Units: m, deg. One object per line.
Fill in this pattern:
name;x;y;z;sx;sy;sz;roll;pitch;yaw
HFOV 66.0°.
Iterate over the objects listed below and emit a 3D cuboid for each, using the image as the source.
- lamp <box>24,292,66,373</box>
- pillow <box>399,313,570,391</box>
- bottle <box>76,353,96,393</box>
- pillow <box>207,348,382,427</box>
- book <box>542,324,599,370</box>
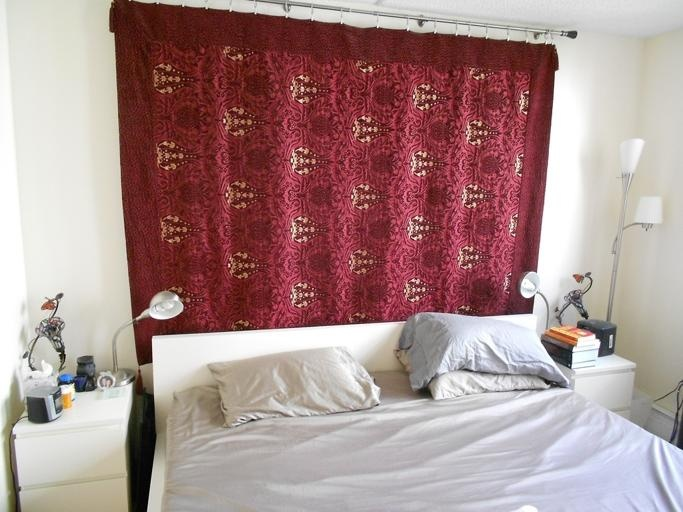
lamp;-1.730;0.465;3.058;0.217;0.495;0.293;-3;9;-28
pillow;0.879;0.566;3.261;0.711;0.207;0.541;10;17;-14
bottle;-1.494;0.681;3.059;0.138;0.170;0.181;0;-4;-15
pillow;-0.237;0.746;2.987;0.713;0.138;0.439;1;31;-23
book;1.560;0.599;3.598;0.262;0.221;0.344;-5;12;-10
